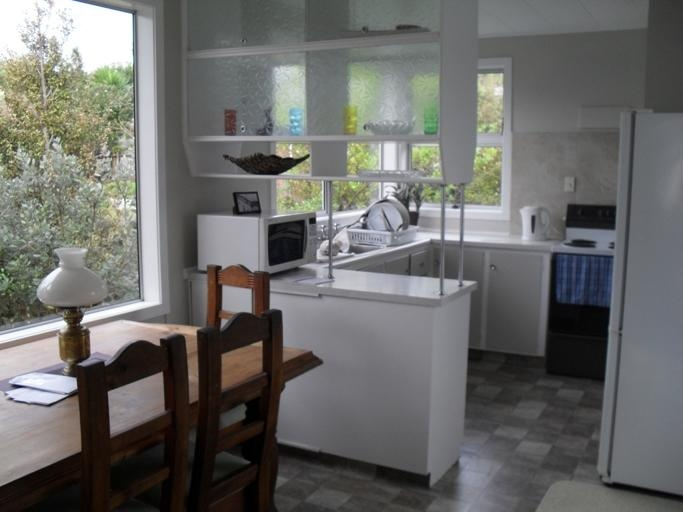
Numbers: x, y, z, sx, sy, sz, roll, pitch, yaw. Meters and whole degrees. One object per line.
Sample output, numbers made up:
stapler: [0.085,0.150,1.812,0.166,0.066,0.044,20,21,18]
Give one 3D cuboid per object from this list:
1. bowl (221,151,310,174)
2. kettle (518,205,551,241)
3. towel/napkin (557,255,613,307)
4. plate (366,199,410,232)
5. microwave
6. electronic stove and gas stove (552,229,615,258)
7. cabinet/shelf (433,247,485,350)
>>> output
bowl: [-0.495,-0.577,3.349,0.245,0.085,0.318,-6,-5,41]
kettle: [1.859,-0.314,5.085,0.322,0.315,0.196,-2,8,-2]
towel/napkin: [2.018,0.212,4.577,0.566,0.550,0.387,0,0,31]
plate: [0.419,-0.356,4.860,0.378,0.335,0.138,0,-2,15]
microwave: [-0.581,-0.185,3.526,0.453,0.325,0.626,2,7,21]
electronic stove and gas stove: [2.198,-0.128,4.698,0.392,0.151,0.355,3,7,33]
cabinet/shelf: [1.119,0.379,5.118,0.518,0.990,0.137,9,14,37]
